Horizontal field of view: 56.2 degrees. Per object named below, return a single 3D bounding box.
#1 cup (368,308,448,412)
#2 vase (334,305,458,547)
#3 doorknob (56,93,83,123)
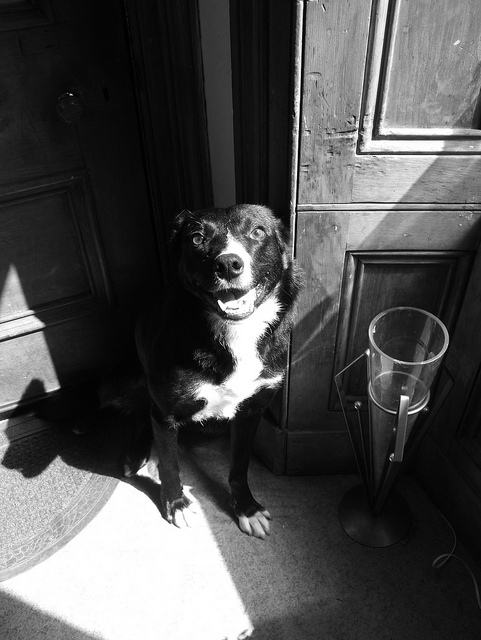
[{"bbox_3d":[0.398,0.086,1.110,0.146,0.277,0.162,5,0,-7],"label":"cup"},{"bbox_3d":[0.400,0.312,1.222,0.260,0.633,0.267,9,30,18],"label":"vase"},{"bbox_3d":[-0.501,-0.623,1.324,0.073,0.075,0.025,-22,40,-23],"label":"doorknob"}]
